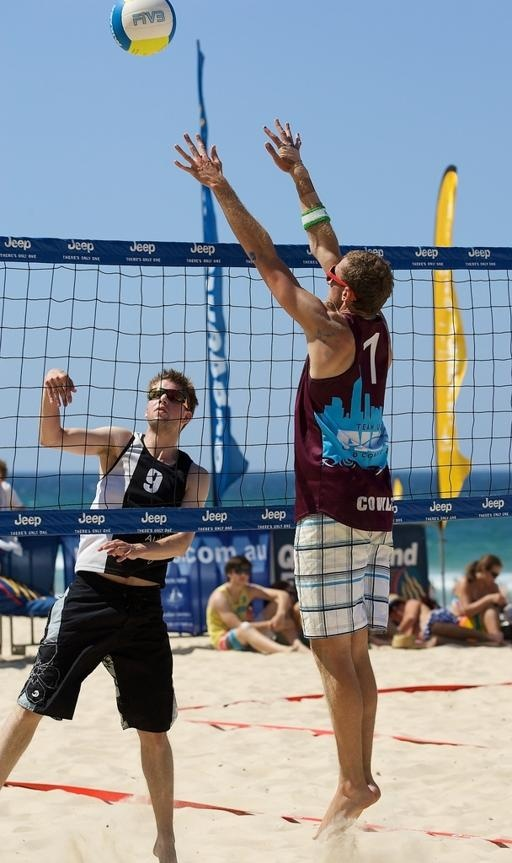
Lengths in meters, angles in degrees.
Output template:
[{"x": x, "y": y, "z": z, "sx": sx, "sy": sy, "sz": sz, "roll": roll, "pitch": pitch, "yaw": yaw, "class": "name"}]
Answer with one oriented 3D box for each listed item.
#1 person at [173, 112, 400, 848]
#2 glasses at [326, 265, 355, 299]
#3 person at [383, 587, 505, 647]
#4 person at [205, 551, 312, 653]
[{"x": 0.147, "y": 0.051, "z": 2.363, "sx": 0.501, "sy": 2.229, "sz": 0.616, "roll": -2, "pitch": -5, "yaw": 9, "class": "person"}, {"x": 0.240, "y": -0.416, "z": 2.344, "sx": 0.025, "sy": 0.095, "sz": 0.088, "roll": -41, "pitch": -29, "yaw": 18, "class": "glasses"}, {"x": 1.448, "y": 1.569, "z": 6.692, "sx": 0.579, "sy": 0.368, "sz": 0.858, "roll": 7, "pitch": -6, "yaw": -37, "class": "person"}, {"x": 0.034, "y": 1.388, "z": 6.628, "sx": 0.891, "sy": 0.786, "sz": 0.621, "roll": -7, "pitch": -6, "yaw": 34, "class": "person"}]
